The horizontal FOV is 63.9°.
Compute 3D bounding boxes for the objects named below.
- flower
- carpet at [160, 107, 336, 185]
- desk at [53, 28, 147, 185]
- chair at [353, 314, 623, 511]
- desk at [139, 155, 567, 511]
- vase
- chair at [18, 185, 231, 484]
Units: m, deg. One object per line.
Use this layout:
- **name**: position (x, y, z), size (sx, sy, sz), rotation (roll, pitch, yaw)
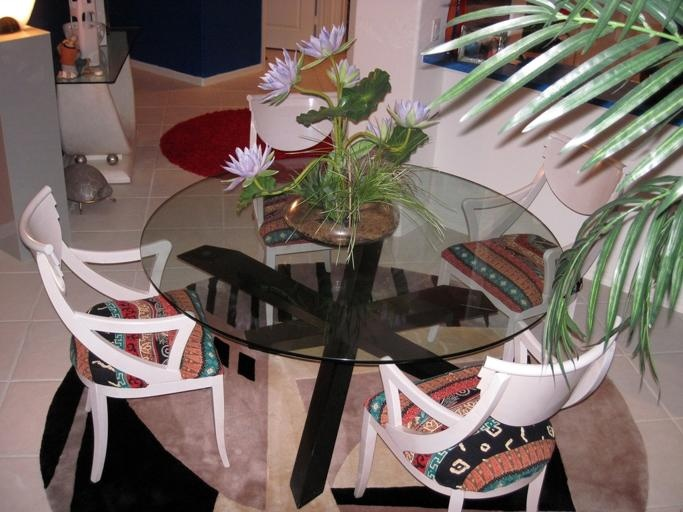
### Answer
- **flower**: position (-0.023, -0.421, 2.019), size (0.873, 0.761, 0.549), rotation (-3, 13, -18)
- **carpet**: position (-0.901, -1.115, 5.395), size (1.861, 0.085, 1.989), rotation (-11, 1, 11)
- **desk**: position (-2.075, -1.108, 4.567), size (0.685, 0.650, 1.282), rotation (-9, 16, -15)
- **chair**: position (0.529, 0.606, 2.020), size (0.463, 0.784, 0.544), rotation (-20, 52, -18)
- **desk**: position (0.026, 0.608, 2.534), size (1.614, 0.936, 1.515), rotation (3, 38, -6)
- **vase**: position (-0.018, -0.174, 2.068), size (0.244, 0.093, 0.240), rotation (-10, 18, -30)
- **chair**: position (-0.849, 0.328, 2.327), size (0.837, 1.053, 0.871), rotation (22, 26, 22)
